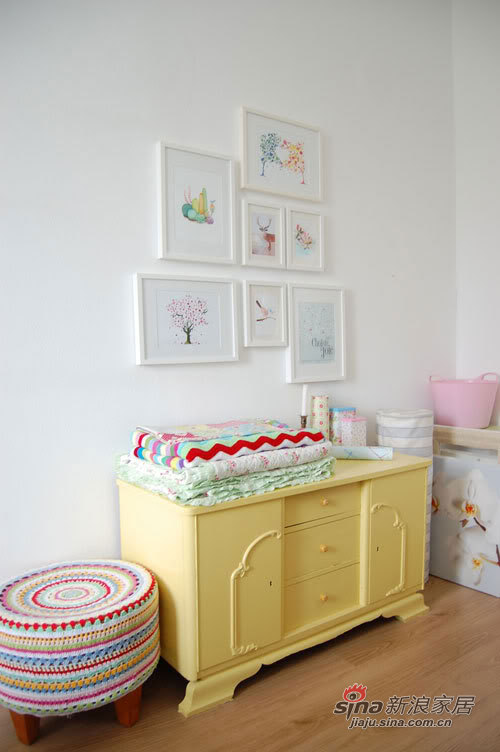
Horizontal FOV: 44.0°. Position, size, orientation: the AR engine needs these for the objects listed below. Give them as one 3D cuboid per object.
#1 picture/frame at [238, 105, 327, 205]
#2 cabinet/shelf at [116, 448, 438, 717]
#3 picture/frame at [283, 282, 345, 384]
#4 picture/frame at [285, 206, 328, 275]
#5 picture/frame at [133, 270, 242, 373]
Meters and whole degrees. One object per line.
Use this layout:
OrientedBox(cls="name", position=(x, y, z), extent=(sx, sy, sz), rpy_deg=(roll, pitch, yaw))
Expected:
OrientedBox(cls="picture/frame", position=(0.114, -0.754, 2.136), extent=(0.360, 0.260, 0.017), rpy_deg=(-5, 9, -38))
OrientedBox(cls="cabinet/shelf", position=(0.145, 0.540, 1.886), extent=(0.902, 0.530, 0.369), rpy_deg=(-4, 9, -35))
OrientedBox(cls="picture/frame", position=(0.223, -0.158, 2.245), extent=(0.381, 0.446, 0.048), rpy_deg=(-2, 2, -42))
OrientedBox(cls="picture/frame", position=(0.195, -0.484, 2.209), extent=(0.256, 0.287, 0.014), rpy_deg=(-6, 8, -44))
OrientedBox(cls="picture/frame", position=(-0.207, -0.172, 1.912), extent=(0.328, 0.251, 0.024), rpy_deg=(-6, 9, -41))
